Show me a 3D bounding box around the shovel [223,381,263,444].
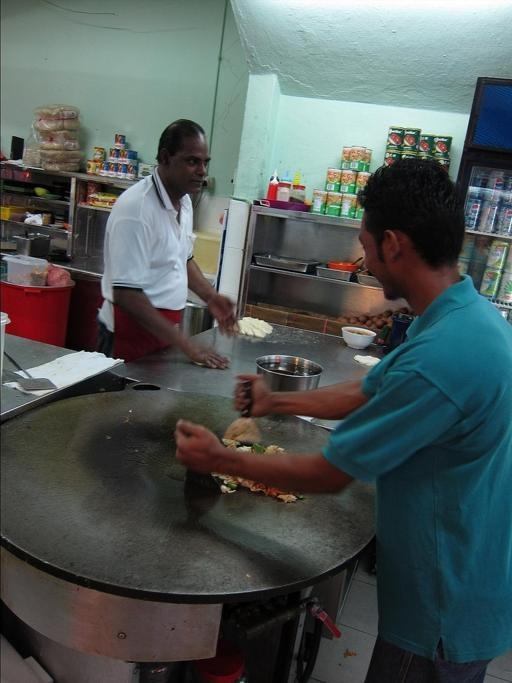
[{"bbox_3d":[-0.003,0.217,1.488,0.105,0.187,0.087,-6,-27,37],"label":"shovel"}]

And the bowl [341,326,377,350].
[{"bbox_3d":[0.576,-0.034,2.879,0.150,0.077,0.141,6,15,-2],"label":"bowl"}]

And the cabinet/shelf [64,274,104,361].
[{"bbox_3d":[-1.470,-0.167,4.175,0.385,0.509,0.380,9,-4,-27],"label":"cabinet/shelf"}]

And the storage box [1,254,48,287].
[{"bbox_3d":[-1.530,-0.474,3.517,0.367,0.197,0.268,7,11,-10],"label":"storage box"}]
